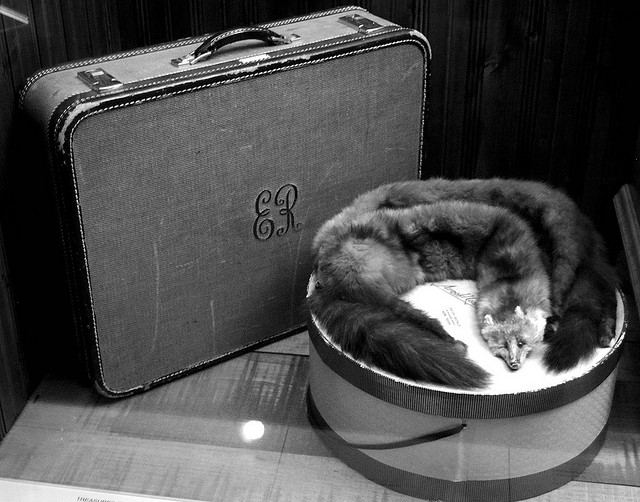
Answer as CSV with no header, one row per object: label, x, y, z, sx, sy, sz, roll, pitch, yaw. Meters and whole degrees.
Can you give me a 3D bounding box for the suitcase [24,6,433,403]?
suitcase,-0.127,-0.049,0.825,0.450,0.377,0.143,-16,29,-31
